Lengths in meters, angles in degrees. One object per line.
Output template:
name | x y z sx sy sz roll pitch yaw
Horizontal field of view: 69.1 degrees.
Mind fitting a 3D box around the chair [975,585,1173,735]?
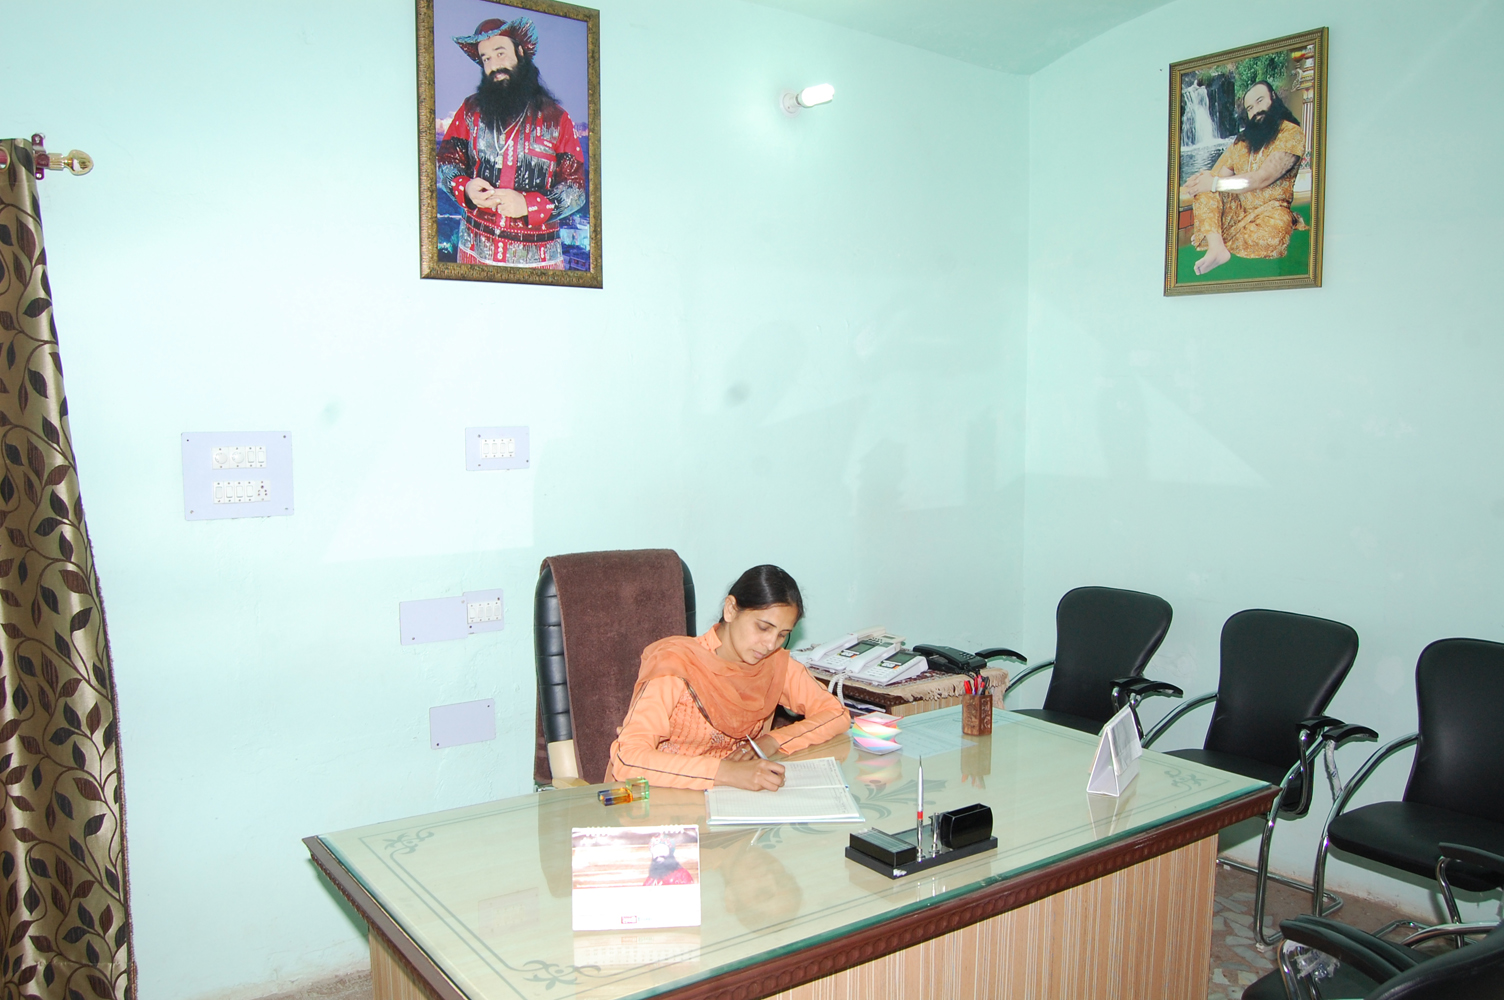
chair | 1.709 0.747 5.596 0.688 1.076 0.730 8 -5 -42

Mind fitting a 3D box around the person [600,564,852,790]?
person | -0.124 0.660 3.964 0.555 0.826 0.479 11 11 -38
